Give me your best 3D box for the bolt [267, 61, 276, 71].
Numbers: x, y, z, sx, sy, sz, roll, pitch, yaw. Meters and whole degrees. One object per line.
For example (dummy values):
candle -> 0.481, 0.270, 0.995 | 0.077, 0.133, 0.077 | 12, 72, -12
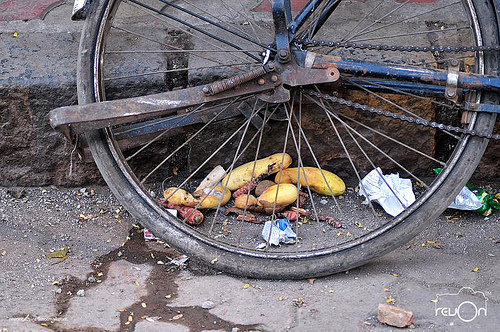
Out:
bolt -> 0.102, -0.488, 2.180 | 0.047, 0.053, 0.035 | 13, -46, -13

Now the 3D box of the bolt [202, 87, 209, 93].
bolt -> -0.214, -0.367, 2.156 | 0.031, 0.029, 0.007 | 3, -2, 5

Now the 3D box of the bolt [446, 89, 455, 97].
bolt -> 0.950, -0.348, 2.142 | 0.036, 0.023, 0.029 | -10, -45, 10

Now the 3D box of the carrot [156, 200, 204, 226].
carrot -> -0.408, 0.247, 2.575 | 0.296, 0.087, 0.083 | 24, -71, 25

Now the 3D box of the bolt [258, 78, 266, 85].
bolt -> 0.054, -0.413, 2.186 | 0.031, 0.024, 0.024 | 0, -44, 0

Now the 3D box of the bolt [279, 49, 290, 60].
bolt -> 0.160, -0.537, 2.162 | 0.044, 0.030, 0.040 | -1, -44, 1

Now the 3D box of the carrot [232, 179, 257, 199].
carrot -> -0.042, 0.140, 2.653 | 0.199, 0.059, 0.058 | -34, -9, -10

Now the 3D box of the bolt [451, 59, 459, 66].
bolt -> 0.974, -0.499, 2.155 | 0.035, 0.033, 0.008 | 0, -11, 0
